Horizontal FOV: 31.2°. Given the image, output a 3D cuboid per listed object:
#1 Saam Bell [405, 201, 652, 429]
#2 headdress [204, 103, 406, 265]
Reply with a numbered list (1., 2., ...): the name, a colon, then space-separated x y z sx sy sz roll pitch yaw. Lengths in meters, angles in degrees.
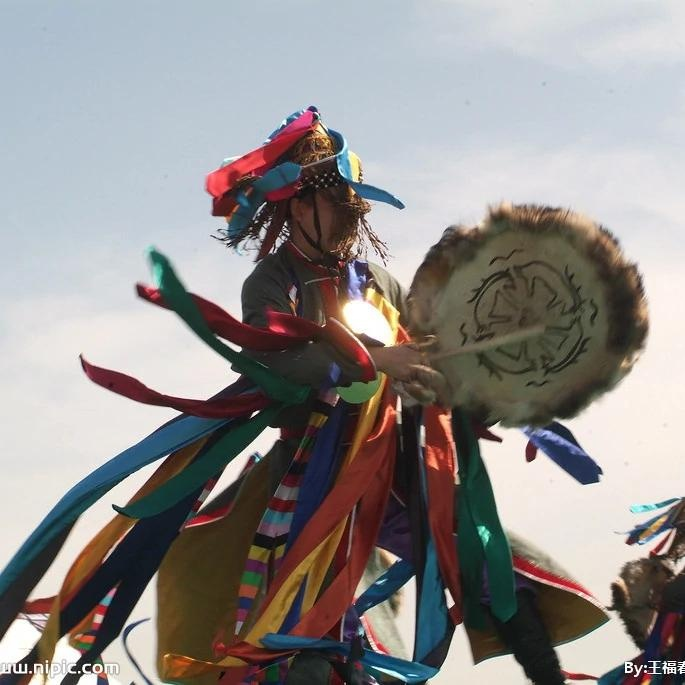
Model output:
1. Saam Bell: 0.554 -0.083 4.116 0.308 0.823 1.050 8 31 41
2. headdress: -0.123 -0.627 4.430 0.586 0.241 0.520 1 -13 35
